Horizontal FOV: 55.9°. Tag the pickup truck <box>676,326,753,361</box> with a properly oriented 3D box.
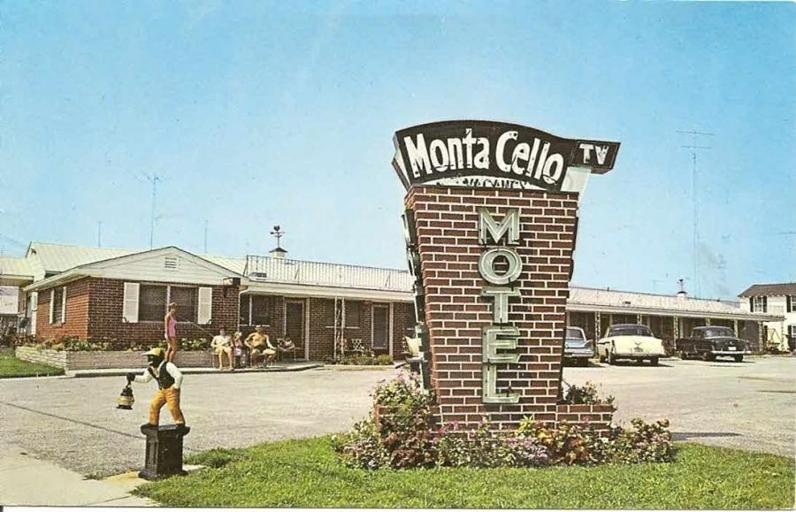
[{"bbox_3d":[16.358,4.595,38.721,1.660,1.773,3.459,1,-1,-16],"label":"pickup truck"}]

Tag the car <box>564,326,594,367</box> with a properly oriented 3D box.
[{"bbox_3d":[8.314,4.206,34.322,1.111,1.741,1.861,0,-1,11],"label":"car"}]

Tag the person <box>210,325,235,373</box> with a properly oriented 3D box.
[{"bbox_3d":[-6.783,3.599,29.034,0.893,1.498,1.839,1,-1,-15],"label":"person"}]
